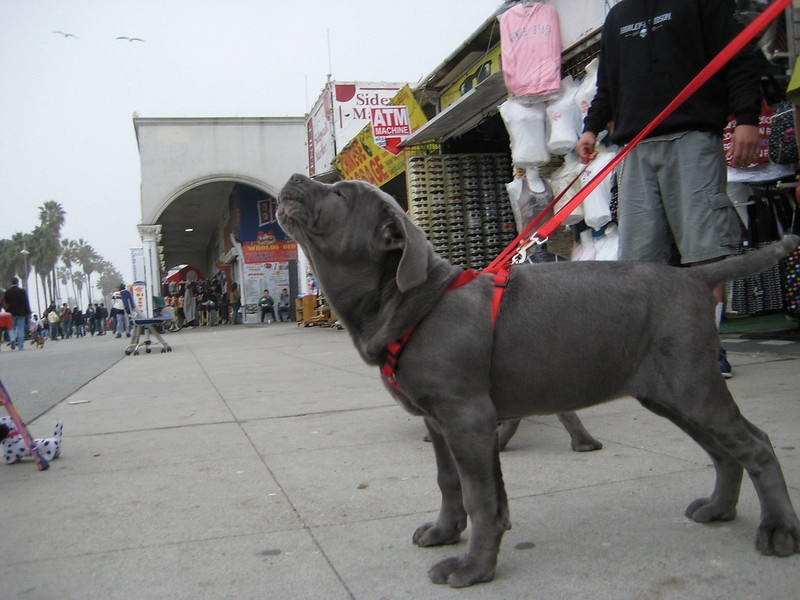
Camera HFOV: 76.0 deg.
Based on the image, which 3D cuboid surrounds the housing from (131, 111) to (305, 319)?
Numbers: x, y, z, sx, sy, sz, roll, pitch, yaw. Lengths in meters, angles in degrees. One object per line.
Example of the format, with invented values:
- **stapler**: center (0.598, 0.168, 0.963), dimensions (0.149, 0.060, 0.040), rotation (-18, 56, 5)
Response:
- **housing**: center (-9.048, -4.253, 26.246), dimensions (6.874, 9.029, 9.307), rotation (-3, 7, -12)

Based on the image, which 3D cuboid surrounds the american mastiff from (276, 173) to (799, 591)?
- **american mastiff**: center (0.455, 0.210, 1.765), dimensions (1.668, 1.259, 0.331), rotation (-4, 1, -2)

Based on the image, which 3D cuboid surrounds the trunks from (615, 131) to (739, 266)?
- **trunks**: center (1.451, -0.527, 2.865), dimensions (0.542, 0.864, 0.724), rotation (-1, 6, -1)
